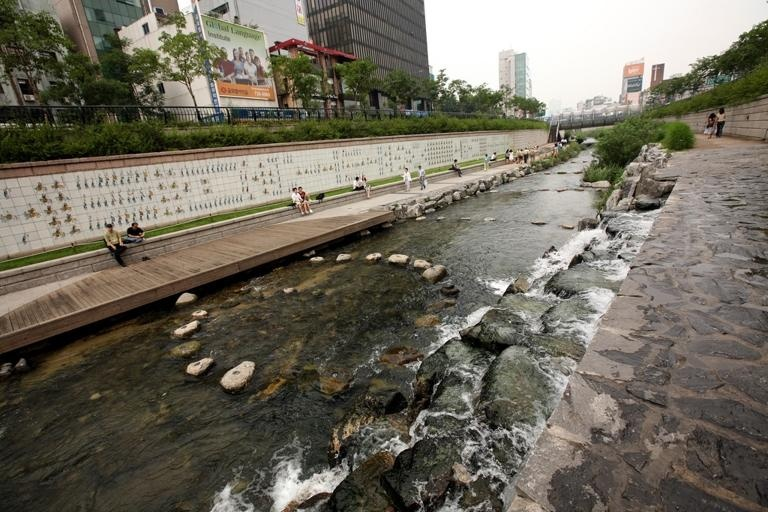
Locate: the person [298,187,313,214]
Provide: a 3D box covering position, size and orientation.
[{"bbox_3d":[-3.972,-2.828,18.785,0.490,0.768,1.489,-22,46,6],"label":"person"}]

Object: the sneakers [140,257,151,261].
[{"bbox_3d":[-8.470,0.027,13.824,0.278,0.121,0.325,-20,23,-38],"label":"sneakers"}]

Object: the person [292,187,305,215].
[{"bbox_3d":[-4.151,-2.613,18.473,0.455,1.221,0.436,-8,21,-5],"label":"person"}]

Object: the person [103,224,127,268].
[{"bbox_3d":[-9.197,-0.407,13.405,0.528,1.349,0.509,8,25,34],"label":"person"}]

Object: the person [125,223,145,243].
[{"bbox_3d":[-8.972,-0.879,13.876,0.551,0.668,0.536,-14,21,-21],"label":"person"}]
